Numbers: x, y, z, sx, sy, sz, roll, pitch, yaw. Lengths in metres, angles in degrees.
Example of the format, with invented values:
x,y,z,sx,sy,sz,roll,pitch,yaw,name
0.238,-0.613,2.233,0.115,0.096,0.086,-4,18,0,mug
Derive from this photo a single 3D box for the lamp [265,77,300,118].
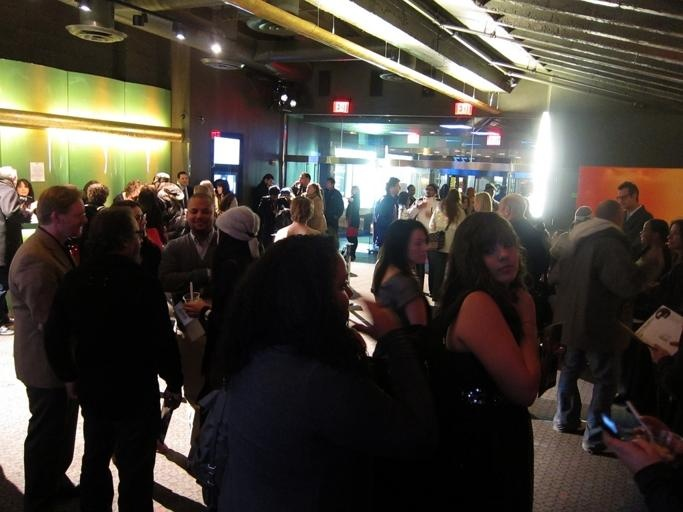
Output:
x,y,z,sx,sy,sz,roll,pitch,yaw,name
-1.585,-4.347,14.113,0.818,0.810,0.612,2,12,-8,lamp

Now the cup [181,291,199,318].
x,y,z,sx,sy,sz,roll,pitch,yaw,name
-0.951,0.306,3.265,0.123,0.142,0.126,3,3,0,cup

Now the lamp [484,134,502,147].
x,y,z,sx,sy,sz,roll,pitch,yaw,name
3.271,-2.486,11.204,0.195,0.368,0.373,18,-14,-40,lamp
